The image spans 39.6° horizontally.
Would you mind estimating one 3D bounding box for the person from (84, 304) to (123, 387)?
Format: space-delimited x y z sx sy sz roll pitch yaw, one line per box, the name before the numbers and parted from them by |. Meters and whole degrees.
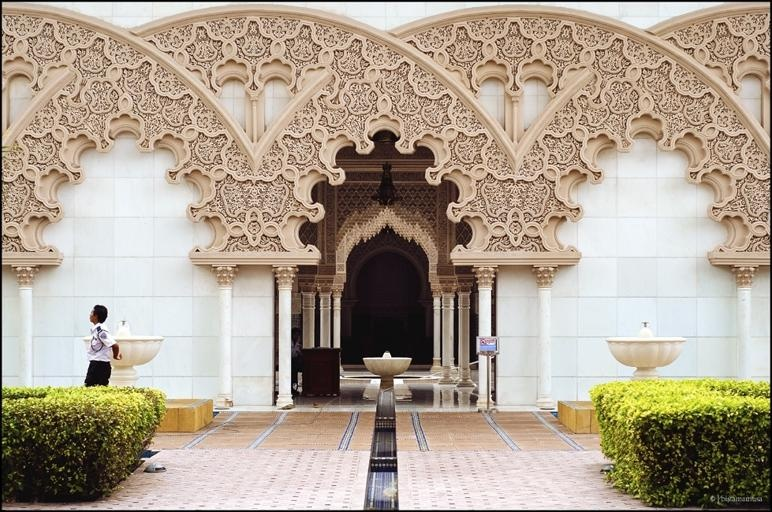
person | -3.426 1.077 12.907 0.398 0.955 1.021 -1 4 -14
